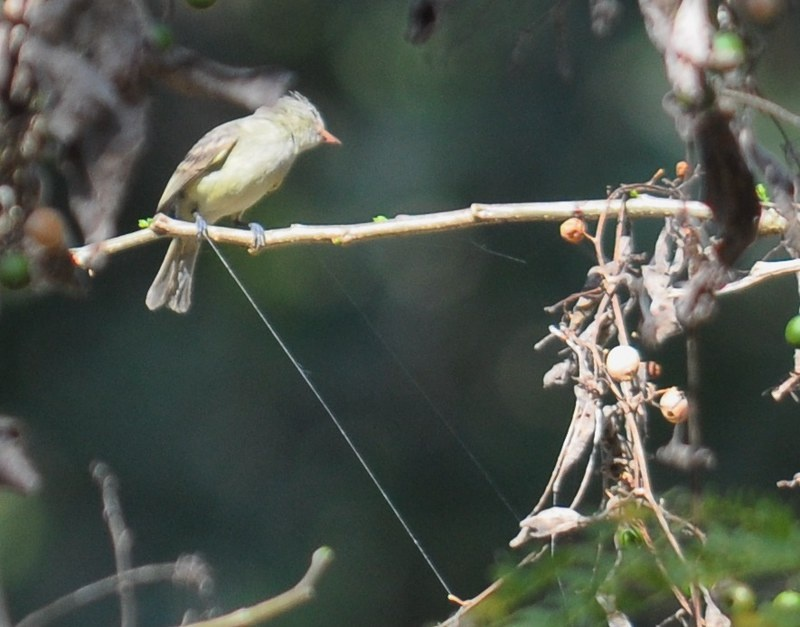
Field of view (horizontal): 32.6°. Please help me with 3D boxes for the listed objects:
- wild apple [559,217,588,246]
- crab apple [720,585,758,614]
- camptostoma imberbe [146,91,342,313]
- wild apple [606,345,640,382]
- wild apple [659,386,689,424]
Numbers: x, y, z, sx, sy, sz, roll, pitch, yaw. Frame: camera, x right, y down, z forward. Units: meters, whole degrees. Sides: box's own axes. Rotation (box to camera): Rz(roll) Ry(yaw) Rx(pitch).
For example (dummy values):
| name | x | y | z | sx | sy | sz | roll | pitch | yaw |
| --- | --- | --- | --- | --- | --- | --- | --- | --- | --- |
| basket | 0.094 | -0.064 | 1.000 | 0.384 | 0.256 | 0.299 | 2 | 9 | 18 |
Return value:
| name | x | y | z | sx | sy | sz | roll | pitch | yaw |
| --- | --- | --- | --- | --- | --- | --- | --- | --- | --- |
| wild apple | 0.187 | -0.087 | 1.479 | 0.026 | 0.022 | 0.031 | 10 | 8 | -12 |
| crab apple | 0.308 | 0.258 | 1.242 | 0.030 | 0.028 | 0.017 | 12 | 14 | 25 |
| camptostoma imberbe | -0.174 | -0.125 | 1.551 | 0.323 | 0.133 | 0.098 | -30 | -28 | 24 |
| wild apple | 0.228 | 0.053 | 1.407 | 0.023 | 0.023 | 0.026 | -56 | -7 | -20 |
| wild apple | 0.285 | 0.096 | 1.422 | 0.038 | 0.041 | 0.034 | -4 | 29 | 14 |
